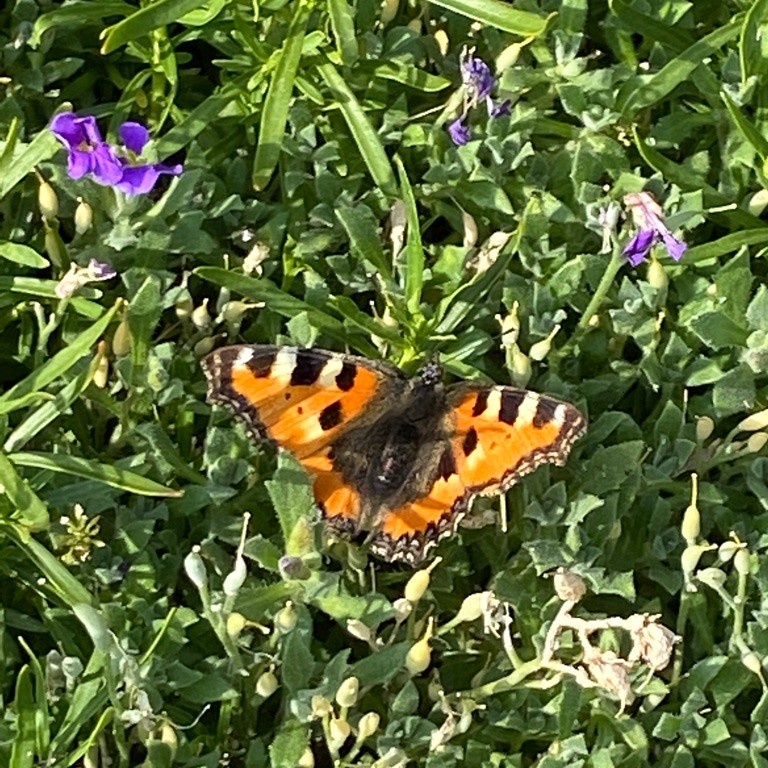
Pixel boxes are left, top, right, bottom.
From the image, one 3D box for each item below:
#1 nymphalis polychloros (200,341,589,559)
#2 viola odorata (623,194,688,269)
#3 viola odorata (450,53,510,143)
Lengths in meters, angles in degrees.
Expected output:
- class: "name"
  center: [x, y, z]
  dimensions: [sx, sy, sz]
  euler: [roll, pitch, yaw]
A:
- class: "nymphalis polychloros"
  center: [0.012, 0.082, 1.096]
  dimensions: [0.468, 0.221, 0.112]
  euler: [11, -18, 10]
- class: "viola odorata"
  center: [0.320, -0.189, 1.132]
  dimensions: [0.071, 0.087, 0.040]
  euler: [3, -3, 1]
- class: "viola odorata"
  center: [0.132, -0.377, 1.254]
  dimensions: [0.108, 0.121, 0.112]
  euler: [1, 24, 13]
